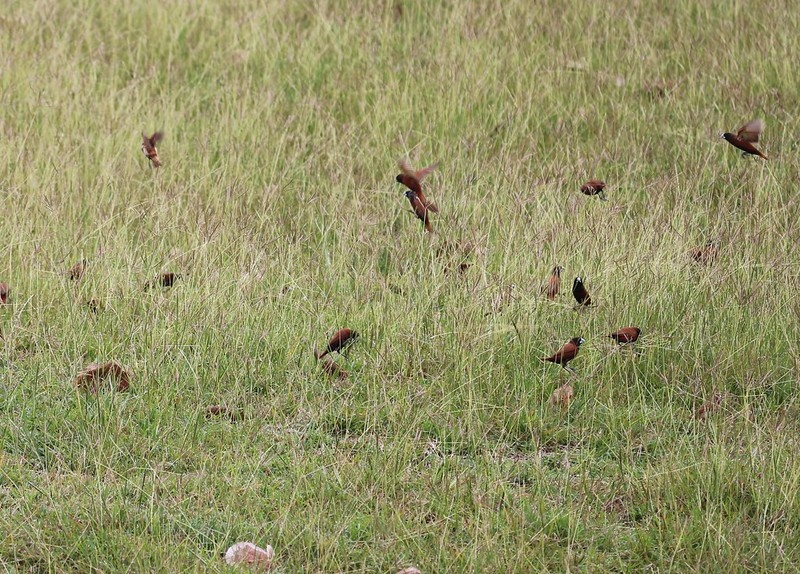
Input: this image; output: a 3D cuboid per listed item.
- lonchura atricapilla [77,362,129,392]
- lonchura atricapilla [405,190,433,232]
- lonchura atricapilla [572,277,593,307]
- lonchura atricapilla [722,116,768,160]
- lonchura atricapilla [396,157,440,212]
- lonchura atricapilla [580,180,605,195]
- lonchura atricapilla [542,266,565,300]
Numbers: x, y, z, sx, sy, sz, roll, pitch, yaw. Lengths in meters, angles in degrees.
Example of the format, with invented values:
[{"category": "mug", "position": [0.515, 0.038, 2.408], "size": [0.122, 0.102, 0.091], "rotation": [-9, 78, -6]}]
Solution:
[{"category": "lonchura atricapilla", "position": [-1.447, 0.410, 5.476], "size": [0.130, 0.188, 0.088], "rotation": [0, 95, 26]}, {"category": "lonchura atricapilla", "position": [0.101, -0.424, 6.476], "size": [0.083, 0.108, 0.265], "rotation": [-34, 85, -36]}, {"category": "lonchura atricapilla", "position": [0.941, 0.026, 5.885], "size": [0.058, 0.194, 0.139], "rotation": [-7, 67, 23]}, {"category": "lonchura atricapilla", "position": [1.932, -0.797, 6.274], "size": [0.282, 0.291, 0.159], "rotation": [7, 78, -27]}, {"category": "lonchura atricapilla", "position": [0.057, -0.519, 5.946], "size": [0.212, 0.306, 0.163], "rotation": [24, 50, -27]}, {"category": "lonchura atricapilla", "position": [1.087, -0.561, 6.465], "size": [0.105, 0.127, 0.079], "rotation": [-6, 100, -12]}, {"category": "lonchura atricapilla", "position": [0.819, -0.010, 6.048], "size": [0.058, 0.136, 0.233], "rotation": [7, 83, 8]}]
